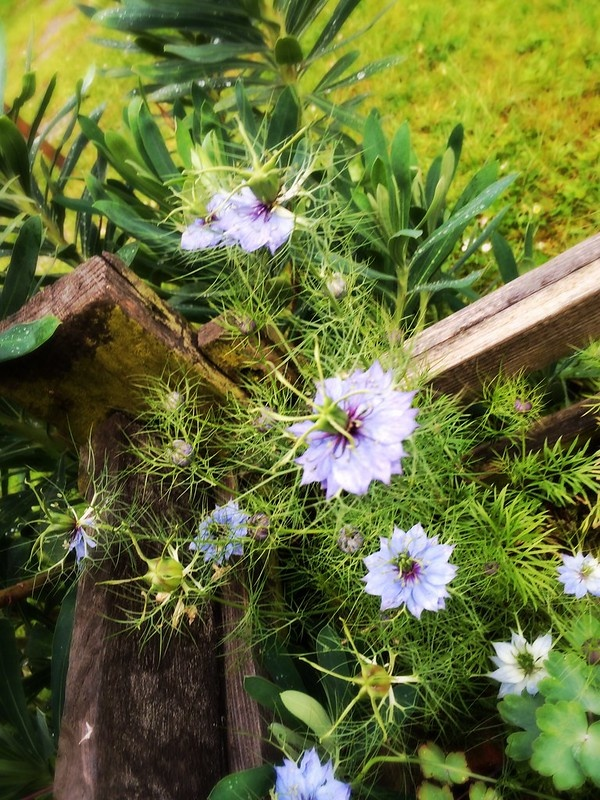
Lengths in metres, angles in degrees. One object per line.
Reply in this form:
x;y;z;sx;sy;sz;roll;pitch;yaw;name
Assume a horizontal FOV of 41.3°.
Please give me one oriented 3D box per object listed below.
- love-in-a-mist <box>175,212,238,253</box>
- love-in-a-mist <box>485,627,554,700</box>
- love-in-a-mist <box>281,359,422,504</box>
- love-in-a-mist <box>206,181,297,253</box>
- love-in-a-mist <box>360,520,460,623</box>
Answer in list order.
-0.105;-0.184;0.877;0.050;0.013;0.045;5;53;19;love-in-a-mist
0.249;0.288;0.877;0.056;0.019;0.062;-25;25;-30;love-in-a-mist
0.050;0.042;0.670;0.121;0.061;0.112;-29;48;13;love-in-a-mist
-0.055;-0.177;0.830;0.095;0.085;0.025;40;90;4;love-in-a-mist
0.110;0.173;0.803;0.091;0.030;0.087;-41;57;-16;love-in-a-mist
